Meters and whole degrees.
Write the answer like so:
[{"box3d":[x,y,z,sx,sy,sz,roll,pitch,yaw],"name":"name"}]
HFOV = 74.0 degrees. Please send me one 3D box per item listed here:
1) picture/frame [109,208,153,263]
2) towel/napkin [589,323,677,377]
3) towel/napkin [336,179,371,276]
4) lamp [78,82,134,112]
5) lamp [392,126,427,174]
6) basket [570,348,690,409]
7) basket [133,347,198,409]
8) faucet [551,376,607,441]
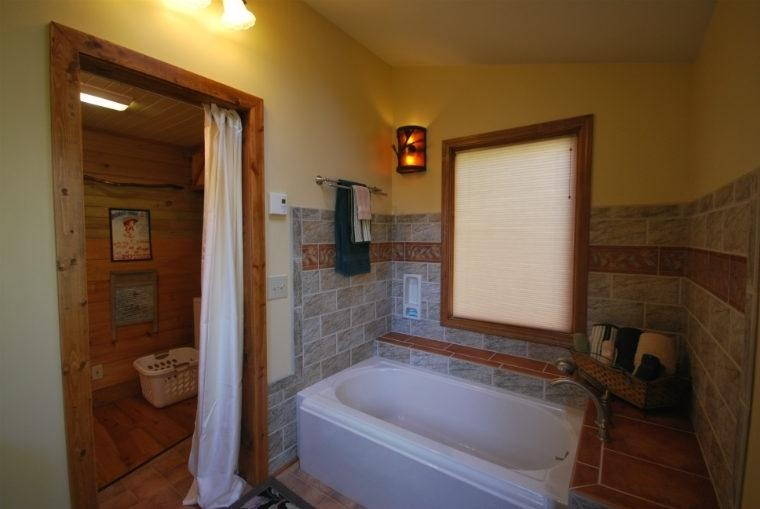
[{"box3d":[-2.291,-0.176,4.594,0.026,0.691,0.494,3,3,34],"name":"picture/frame"},{"box3d":[1.646,0.618,3.327,0.132,0.358,0.356,18,-11,-39],"name":"towel/napkin"},{"box3d":[-0.219,-0.192,4.001,0.094,0.689,0.336,4,6,42],"name":"towel/napkin"},{"box3d":[-2.070,-1.177,3.824,0.347,0.125,0.456,-3,5,-31],"name":"lamp"},{"box3d":[0.232,-0.890,4.338,0.312,0.388,0.150,3,5,35],"name":"lamp"},{"box3d":[1.625,0.789,3.266,0.316,0.192,0.549,1,-2,-23],"name":"basket"},{"box3d":[-1.927,1.092,4.538,0.432,0.319,0.578,1,1,33],"name":"basket"},{"box3d":[1.269,0.942,3.151,0.322,0.326,0.184,2,5,32],"name":"faucet"}]
